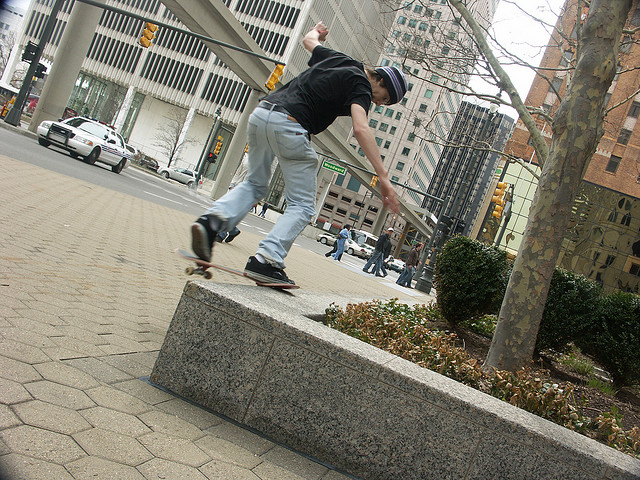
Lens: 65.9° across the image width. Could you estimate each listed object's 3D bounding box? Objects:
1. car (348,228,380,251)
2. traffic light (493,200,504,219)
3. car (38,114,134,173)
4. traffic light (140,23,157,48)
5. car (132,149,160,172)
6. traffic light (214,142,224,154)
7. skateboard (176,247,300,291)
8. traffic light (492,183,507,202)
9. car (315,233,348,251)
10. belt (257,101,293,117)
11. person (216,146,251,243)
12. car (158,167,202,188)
[{"bbox_3d":[4.432,-0.059,49.987,1.711,1.432,2.898,12,17,-34],"label":"car"},{"bbox_3d":[9.229,-1.574,25.473,0.353,0.978,1.474,19,4,17],"label":"traffic light"},{"bbox_3d":[-10.236,-4.339,22.150,1.976,1.536,4.558,23,5,4],"label":"car"},{"bbox_3d":[-6.813,-8.164,19.426,0.664,0.961,0.275,29,-17,-39],"label":"traffic light"},{"bbox_3d":[-18.282,-8.122,51.513,2.385,1.694,4.113,18,4,-18],"label":"car"},{"bbox_3d":[-8.599,-7.515,40.891,0.778,0.850,0.849,28,24,24],"label":"traffic light"},{"bbox_3d":[-0.983,0.325,5.466,1.677,0.237,0.430,19,3,-26],"label":"skateboard"},{"bbox_3d":[8.898,-2.335,24.372,0.462,1.030,1.604,19,4,20],"label":"traffic light"},{"bbox_3d":[1.048,0.211,47.520,2.868,1.109,1.256,13,-2,4],"label":"car"},{"bbox_3d":[-0.366,-1.055,3.946,0.347,0.102,0.051,22,4,27],"label":"belt"},{"bbox_3d":[-1.791,-0.492,10.170,0.578,0.517,1.873,6,-32,-17],"label":"person"},{"bbox_3d":[-13.759,-6.297,48.235,4.245,1.866,2.027,16,3,-30],"label":"car"}]
